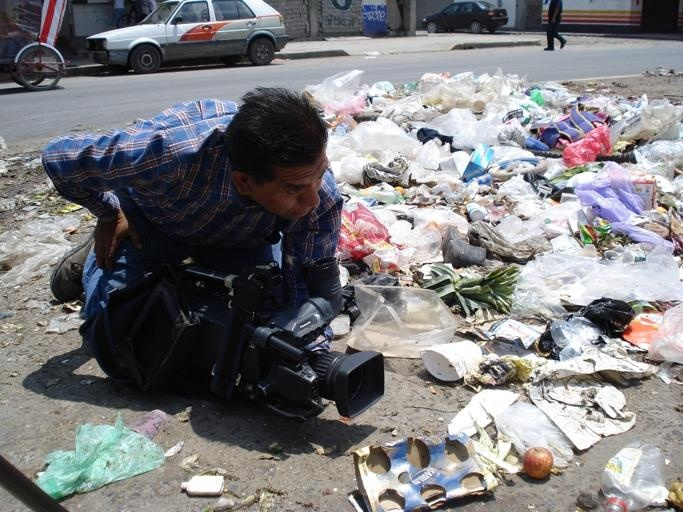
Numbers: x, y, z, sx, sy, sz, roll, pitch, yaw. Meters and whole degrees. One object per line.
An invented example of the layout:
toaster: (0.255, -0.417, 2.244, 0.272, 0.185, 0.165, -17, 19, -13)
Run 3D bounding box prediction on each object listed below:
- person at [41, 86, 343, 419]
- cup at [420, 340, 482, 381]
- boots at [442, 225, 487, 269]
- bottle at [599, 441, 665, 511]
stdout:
person: (-0.586, -0.089, 2.323, 1.226, 1.358, 1.026, 12, 23, 9)
cup: (0.504, 0.461, 2.273, 0.212, 0.173, 0.208, -4, 31, 2)
boots: (0.777, -0.031, 3.136, 0.110, 0.280, 0.269, -39, 9, 39)
bottle: (1.000, 0.757, 1.652, 0.262, 0.112, 0.176, -7, 19, -16)
